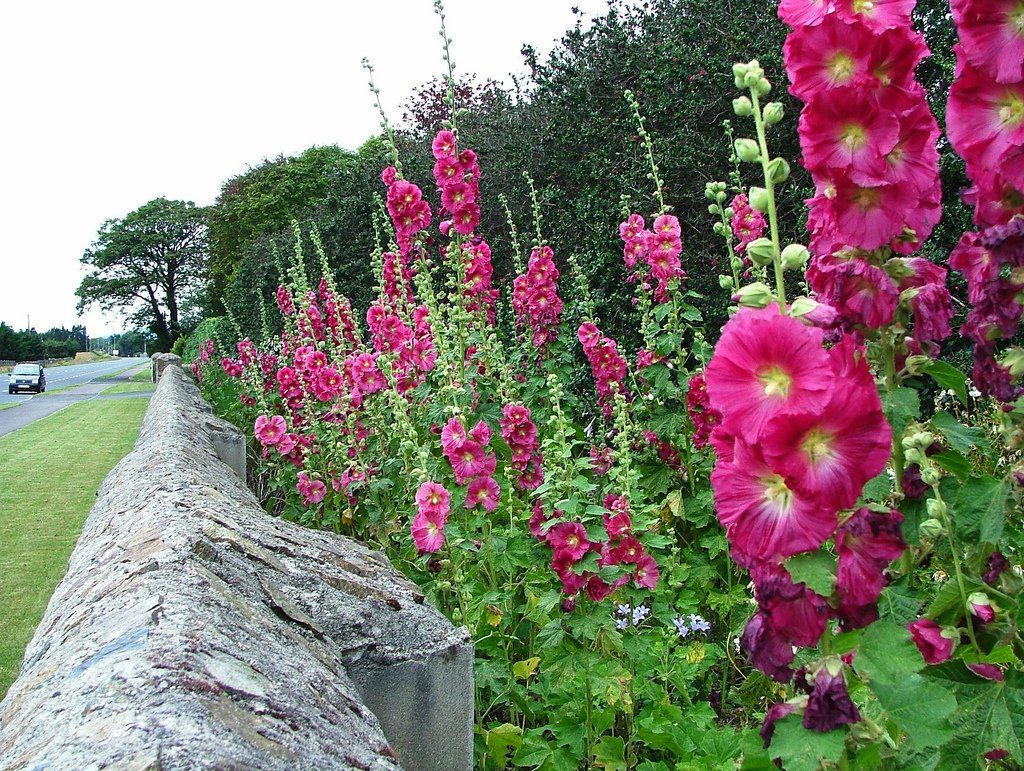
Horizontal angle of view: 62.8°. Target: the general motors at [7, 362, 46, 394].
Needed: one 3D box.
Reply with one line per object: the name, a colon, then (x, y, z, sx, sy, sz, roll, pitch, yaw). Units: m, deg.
general motors: (-21.874, -0.334, 38.036, 1.269, 1.181, 2.204, 0, -1, -23)
